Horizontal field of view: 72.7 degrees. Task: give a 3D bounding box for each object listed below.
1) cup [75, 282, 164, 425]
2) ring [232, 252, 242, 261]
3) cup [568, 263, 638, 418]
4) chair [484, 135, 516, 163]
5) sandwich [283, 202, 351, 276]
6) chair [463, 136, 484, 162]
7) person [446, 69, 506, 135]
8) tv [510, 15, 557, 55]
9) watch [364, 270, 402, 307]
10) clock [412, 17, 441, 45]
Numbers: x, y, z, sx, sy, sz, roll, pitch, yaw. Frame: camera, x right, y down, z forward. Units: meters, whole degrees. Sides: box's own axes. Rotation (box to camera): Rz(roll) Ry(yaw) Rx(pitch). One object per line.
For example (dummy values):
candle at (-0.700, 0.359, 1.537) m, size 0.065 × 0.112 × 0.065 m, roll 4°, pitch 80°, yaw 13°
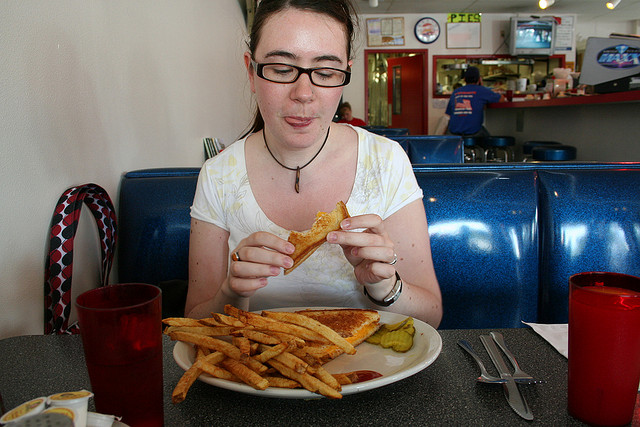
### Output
cup at (-0.348, 0.255, 0.778) m, size 0.137 × 0.252 × 0.107 m, roll -5°, pitch 13°, yaw -18°
ring at (-0.215, 0.112, 1.130) m, size 0.024 × 0.022 × 0.008 m, roll -10°, pitch -13°, yaw 41°
cup at (0.531, 0.247, 0.824) m, size 0.125 × 0.256 × 0.105 m, roll 5°, pitch 14°, yaw 25°
chair at (2.490, -0.844, 5.970) m, size 0.359 × 0.352 × 0.339 m, roll 2°, pitch 6°, yaw 13°
sandwich at (-0.001, 0.055, 1.144) m, size 0.160 × 0.157 × 0.080 m, roll -1°, pitch 13°, yaw -5°
chair at (2.263, -0.937, 6.427) m, size 0.253 × 0.362 × 0.935 m, roll 4°, pitch 12°, yaw 19°
person at (2.371, -1.723, 6.756) m, size 0.756 × 0.984 × 0.337 m, roll 4°, pitch 13°, yaw 18°
tv at (4.382, -3.714, 9.344) m, size 1.164 × 0.804 × 0.560 m, roll -7°, pitch 14°, yaw -16°
watch at (0.190, 0.234, 1.313) m, size 0.113 × 0.104 × 0.054 m, roll 1°, pitch 13°, yaw 6°
clock at (2.283, -3.894, 9.278) m, size 0.601 × 0.508 × 0.047 m, roll -9°, pitch 16°, yaw -13°
